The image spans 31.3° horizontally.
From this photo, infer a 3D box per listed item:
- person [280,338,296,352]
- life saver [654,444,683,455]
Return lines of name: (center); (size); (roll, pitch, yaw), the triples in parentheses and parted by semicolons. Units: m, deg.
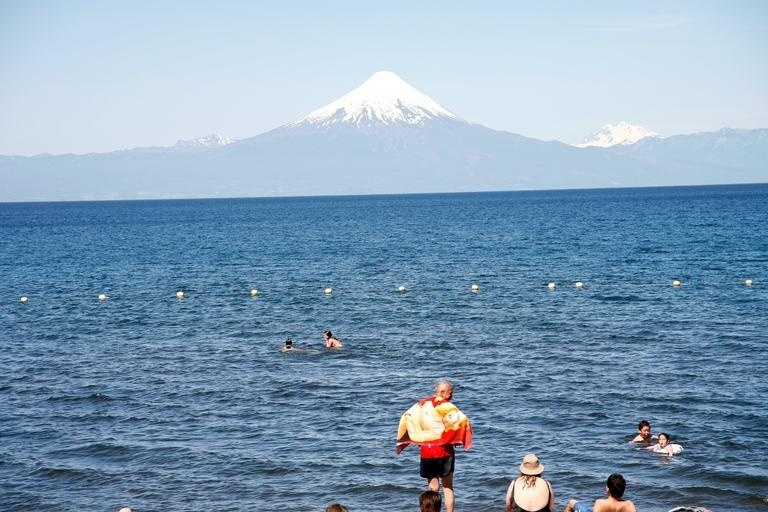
person: (-7.743, 7.384, 112.822); (0.866, 1.031, 0.433); (0, -15, 18)
life saver: (20.118, 13.808, 97.773); (1.282, 0.464, 1.031); (0, 2, 5)
